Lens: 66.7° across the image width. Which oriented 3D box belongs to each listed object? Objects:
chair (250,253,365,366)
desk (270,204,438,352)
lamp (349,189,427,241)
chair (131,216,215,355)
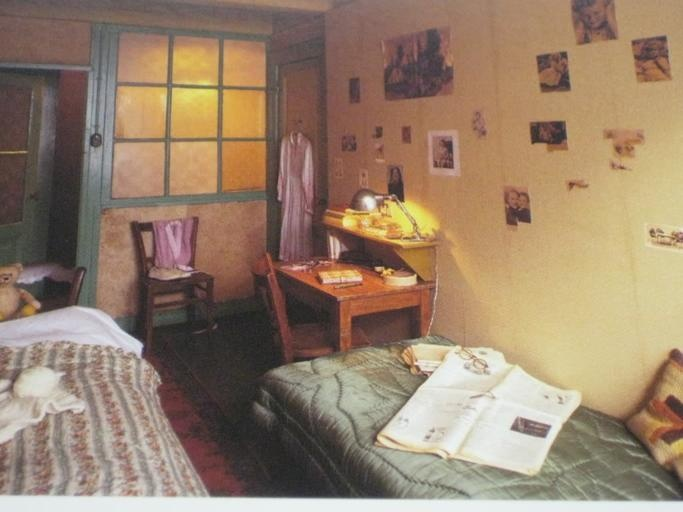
[{"bbox_3d":[-0.192,0.465,3.399,0.674,0.907,0.569,-6,11,-3],"label":"chair"},{"bbox_3d":[0.039,0.243,3.752,0.732,0.820,1.204,-8,12,-24],"label":"desk"},{"bbox_3d":[0.311,-0.277,3.526,0.455,0.348,0.199,-3,-11,20],"label":"lamp"},{"bbox_3d":[-1.465,0.239,4.503,0.704,1.039,0.736,15,18,31],"label":"chair"}]
